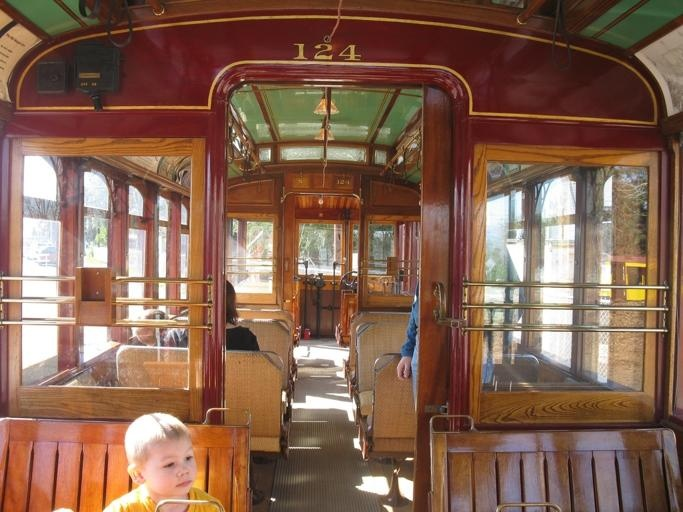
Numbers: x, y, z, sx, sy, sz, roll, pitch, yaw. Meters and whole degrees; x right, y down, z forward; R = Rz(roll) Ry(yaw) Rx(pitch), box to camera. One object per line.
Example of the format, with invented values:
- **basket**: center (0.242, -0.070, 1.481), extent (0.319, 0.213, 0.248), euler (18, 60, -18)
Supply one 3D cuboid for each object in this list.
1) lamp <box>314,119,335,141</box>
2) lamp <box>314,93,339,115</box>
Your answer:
- **lamp**: center (-0.184, -1.356, 6.419), extent (0.248, 0.293, 0.260), euler (4, 9, 26)
- **lamp**: center (-0.149, -1.424, 5.622), extent (0.215, 0.164, 0.229), euler (0, -1, -4)
